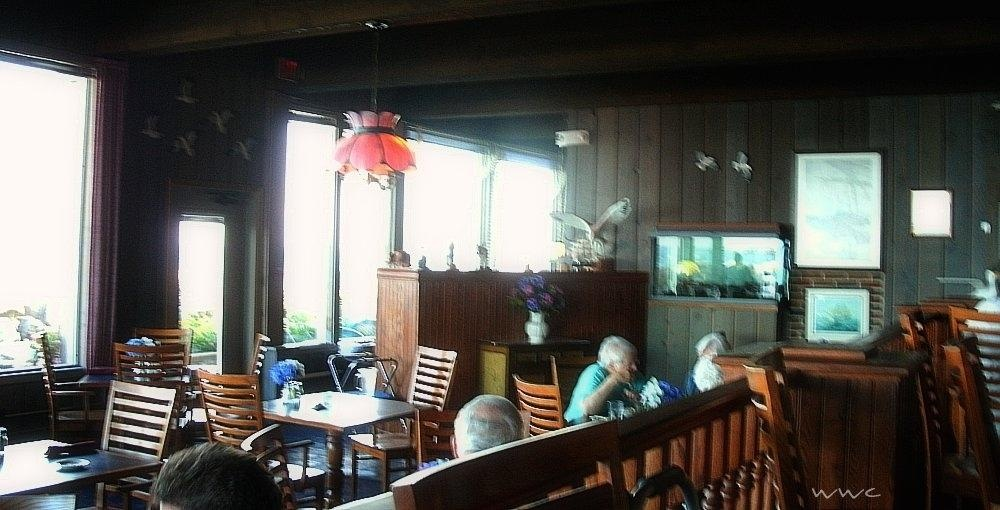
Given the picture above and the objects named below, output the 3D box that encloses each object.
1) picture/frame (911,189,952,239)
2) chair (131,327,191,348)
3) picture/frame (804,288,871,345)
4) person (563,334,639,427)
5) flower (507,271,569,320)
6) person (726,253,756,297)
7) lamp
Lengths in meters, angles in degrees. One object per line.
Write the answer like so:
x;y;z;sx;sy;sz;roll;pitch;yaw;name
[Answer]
6.657;-0.632;10.100;0.910;0.626;0.197;-2;2;17;picture/frame
-4.762;1.141;9.304;0.576;0.337;0.561;1;2;38;chair
5.341;0.968;10.346;1.172;0.860;0.087;3;-5;-14;picture/frame
0.948;1.247;6.120;0.686;0.789;0.949;0;0;5;person
0.661;0.641;9.837;0.669;0.635;0.676;-13;-15;-46;flower
3.856;0.331;10.397;0.456;0.717;0.155;0;0;14;person
-1.680;-2.013;8.464;0.964;1.687;1.773;0;0;-14;lamp
